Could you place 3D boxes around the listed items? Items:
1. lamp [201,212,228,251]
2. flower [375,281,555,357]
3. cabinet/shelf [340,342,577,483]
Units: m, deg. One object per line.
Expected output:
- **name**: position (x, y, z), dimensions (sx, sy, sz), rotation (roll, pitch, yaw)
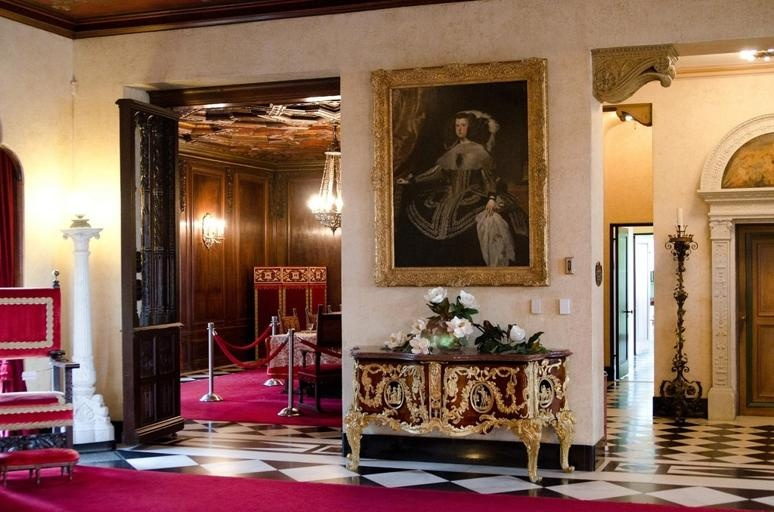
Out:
- **lamp**: position (-3.692, -0.518, 13.846), dimensions (0.382, 0.964, 0.859), rotation (-3, -3, 24)
- **flower**: position (0.785, 0.654, 6.848), dimensions (1.264, 0.475, 0.805), rotation (2, -8, -4)
- **cabinet/shelf**: position (0.734, 1.584, 6.756), dimensions (2.268, 1.278, 0.428), rotation (0, -1, 12)
